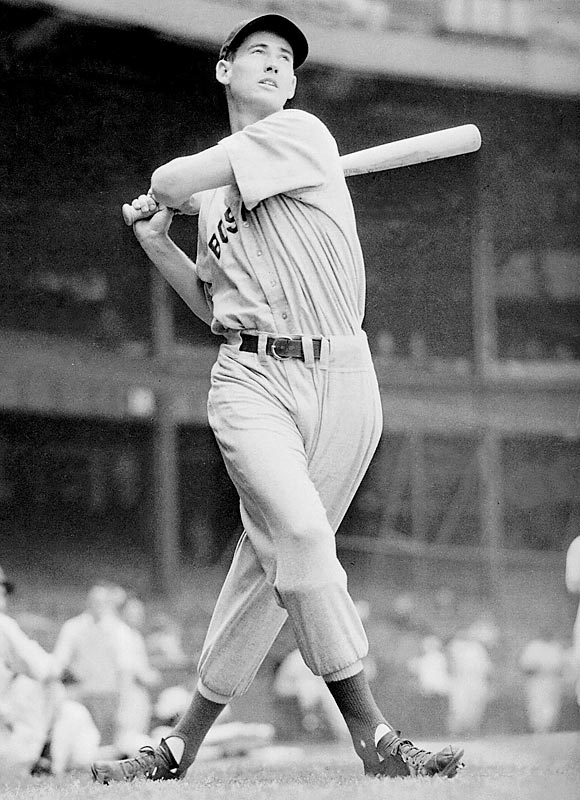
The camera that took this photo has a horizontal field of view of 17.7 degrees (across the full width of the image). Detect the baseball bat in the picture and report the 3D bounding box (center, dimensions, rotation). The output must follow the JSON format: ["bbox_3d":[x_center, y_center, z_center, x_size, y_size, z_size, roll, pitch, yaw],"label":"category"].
[{"bbox_3d":[-0.001,-0.654,5.313,0.940,0.104,0.103,-16,42,-3],"label":"baseball bat"}]

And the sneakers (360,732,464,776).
[{"bbox_3d":[0.317,0.946,4.927,0.325,0.144,0.110,-15,-15,35],"label":"sneakers"}]

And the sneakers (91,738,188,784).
[{"bbox_3d":[-0.393,0.997,5.111,0.312,0.131,0.098,8,5,-31],"label":"sneakers"}]

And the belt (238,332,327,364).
[{"bbox_3d":[-0.027,-0.138,4.955,0.234,0.088,0.047,-3,-7,19],"label":"belt"}]
